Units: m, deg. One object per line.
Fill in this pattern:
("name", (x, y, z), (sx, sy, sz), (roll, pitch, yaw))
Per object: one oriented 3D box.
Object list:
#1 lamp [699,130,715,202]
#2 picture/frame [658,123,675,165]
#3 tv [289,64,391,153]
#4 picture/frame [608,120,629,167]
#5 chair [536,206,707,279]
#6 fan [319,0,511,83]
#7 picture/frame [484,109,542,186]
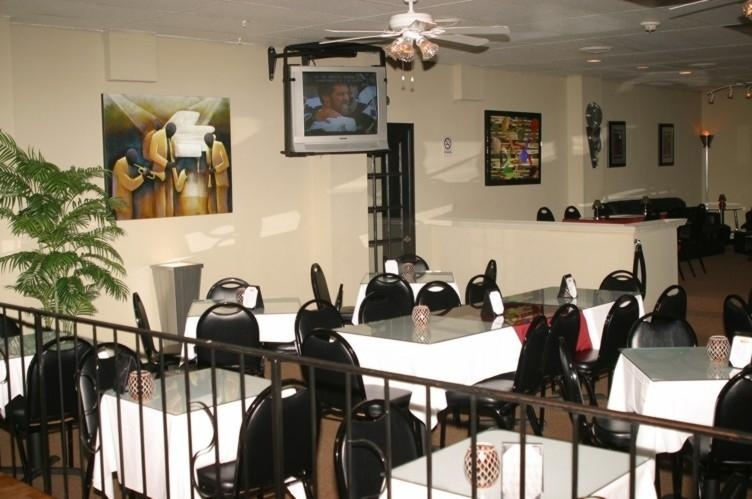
("lamp", (8.142, -2.021, 15.343), (0.221, 1.726, 0.259), (-4, 6, -33))
("picture/frame", (6.672, -2.414, 14.311), (0.114, 1.208, 0.890), (3, 6, 42))
("tv", (-0.526, -1.790, 7.984), (1.083, 0.990, 0.419), (-2, 5, -24))
("picture/frame", (5.006, -2.186, 12.882), (0.110, 1.240, 0.895), (3, 7, 39))
("chair", (3.381, -0.111, 8.849), (1.403, 0.929, 1.446), (4, 7, 38))
("fan", (0.350, -2.396, 7.186), (1.242, 0.647, 1.256), (-3, 5, -27))
("picture/frame", (2.384, -1.813, 11.070), (1.256, 1.269, 0.058), (-9, 12, -38))
